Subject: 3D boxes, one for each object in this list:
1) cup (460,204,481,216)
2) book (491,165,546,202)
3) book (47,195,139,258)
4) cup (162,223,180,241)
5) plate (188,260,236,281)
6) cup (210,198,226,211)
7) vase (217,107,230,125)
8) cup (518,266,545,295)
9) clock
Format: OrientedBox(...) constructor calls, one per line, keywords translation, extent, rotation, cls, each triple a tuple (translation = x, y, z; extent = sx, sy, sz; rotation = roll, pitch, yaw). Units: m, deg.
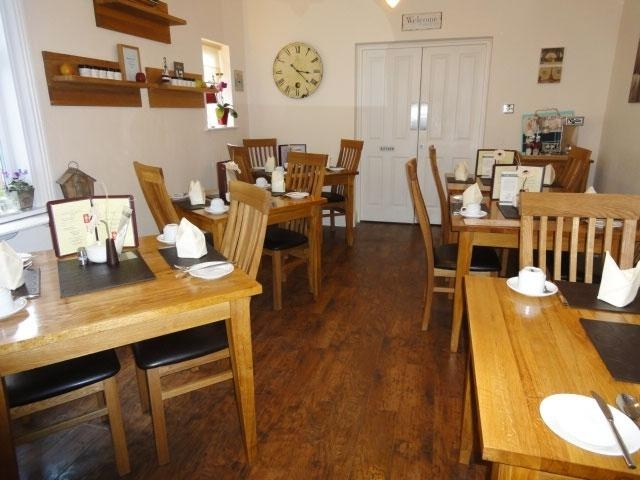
OrientedBox(translation=(0.946, -0.181, 2.767), extent=(0.077, 0.047, 0.110), rotation=(-3, 17, 5), cls="cup")
OrientedBox(translation=(1.378, -0.451, 3.098), extent=(0.313, 0.302, 0.304), rotation=(5, 13, 19), cls="book")
OrientedBox(translation=(-1.085, -0.083, 2.077), extent=(0.405, 0.305, 0.109), rotation=(-10, 17, -24), cls="book")
OrientedBox(translation=(-0.775, -0.038, 2.330), extent=(0.088, 0.086, 0.081), rotation=(-5, 22, 2), cls="cup")
OrientedBox(translation=(-0.468, 0.133, 1.928), extent=(0.186, 0.039, 0.153), rotation=(-14, 23, -36), cls="plate")
OrientedBox(translation=(-0.697, -0.245, 3.032), extent=(0.082, 0.078, 0.107), rotation=(-1, 2, -9), cls="cup")
OrientedBox(translation=(-1.128, -1.428, 5.131), extent=(0.125, 0.204, 0.217), rotation=(9, 21, 26), cls="vase")
OrientedBox(translation=(0.845, 0.147, 1.775), extent=(0.102, 0.099, 0.101), rotation=(-5, 15, 1), cls="cup")
OrientedBox(translation=(-0.248, -2.114, 5.436), extent=(0.683, 0.706, 0.090), rotation=(2, 17, 14), cls="clock")
